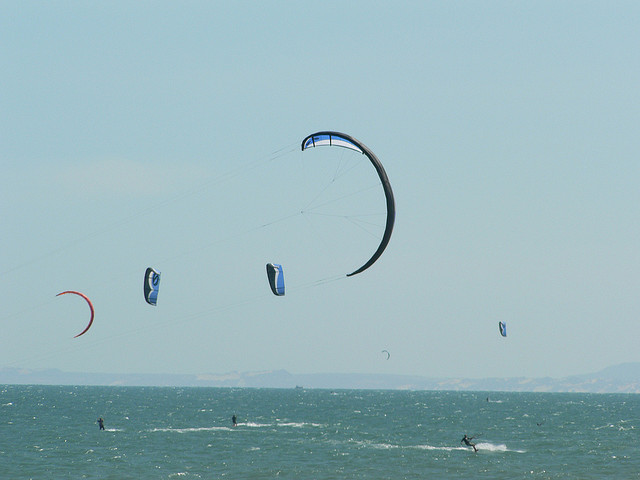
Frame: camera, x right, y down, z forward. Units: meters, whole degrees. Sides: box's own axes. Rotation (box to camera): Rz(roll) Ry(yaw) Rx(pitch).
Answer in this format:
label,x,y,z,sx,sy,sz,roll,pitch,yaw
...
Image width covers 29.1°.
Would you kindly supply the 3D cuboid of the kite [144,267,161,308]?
label,x,y,z,sx,sy,sz,roll,pitch,yaw
kite,-22.355,5.817,163.400,2.054,1.579,6.498,-3,-54,-24
